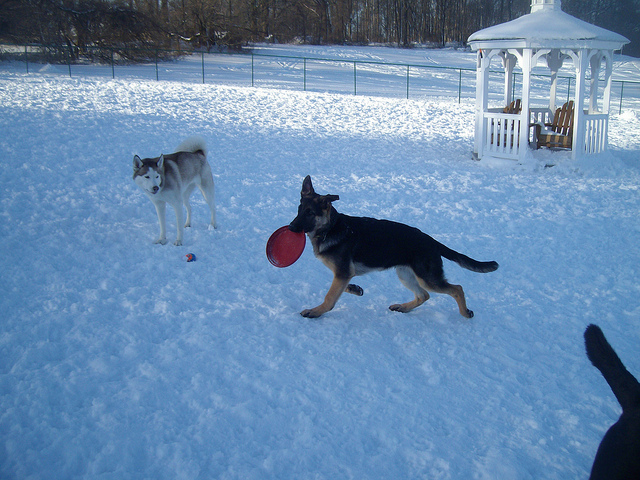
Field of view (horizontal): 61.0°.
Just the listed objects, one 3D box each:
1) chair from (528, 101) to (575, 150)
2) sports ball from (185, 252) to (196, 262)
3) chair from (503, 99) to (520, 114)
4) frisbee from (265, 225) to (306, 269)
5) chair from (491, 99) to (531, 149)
[{"bbox_3d":[7.305,-3.355,16.437,1.112,1.759,1.553,6,14,34],"label":"chair"},{"bbox_3d":[-2.216,0.295,9.276,0.134,0.142,0.114,17,5,-2],"label":"sports ball"},{"bbox_3d":[5.720,-4.008,16.333,0.397,0.515,0.261,-15,20,-25],"label":"chair"},{"bbox_3d":[-0.551,0.113,8.456,0.550,0.697,0.084,-8,-10,36],"label":"frisbee"},{"bbox_3d":[5.715,-3.466,16.213,1.084,1.392,1.629,7,21,20],"label":"chair"}]
